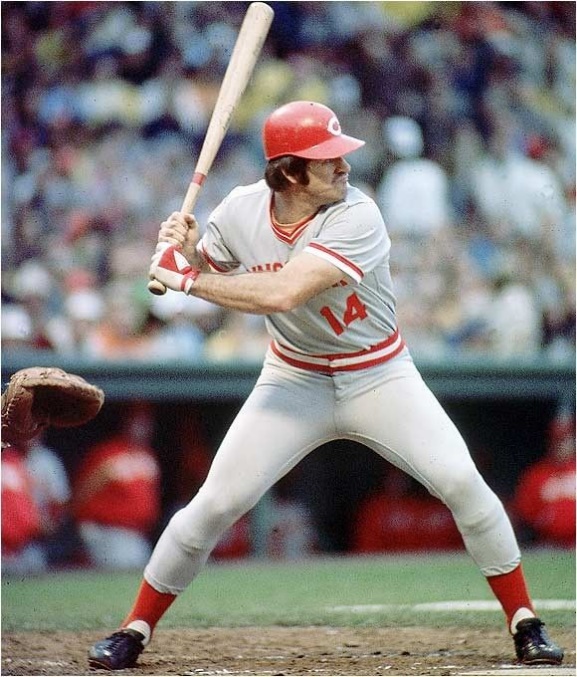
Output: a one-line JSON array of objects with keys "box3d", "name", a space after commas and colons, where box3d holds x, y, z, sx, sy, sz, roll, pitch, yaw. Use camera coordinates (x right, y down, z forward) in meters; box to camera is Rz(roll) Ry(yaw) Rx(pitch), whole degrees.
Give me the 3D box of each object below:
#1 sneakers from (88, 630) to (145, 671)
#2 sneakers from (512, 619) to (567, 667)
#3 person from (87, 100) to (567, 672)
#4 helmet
[{"box3d": [-0.468, 0.864, 2.564, 0.104, 0.118, 0.127, 7, 41, 14], "name": "sneakers"}, {"box3d": [0.662, 0.828, 2.496, 0.095, 0.107, 0.149, -12, 39, -9], "name": "sneakers"}, {"box3d": [0.068, 0.091, 2.611, 1.120, 1.236, 1.136, -4, 40, 2], "name": "person"}, {"box3d": [0.080, -0.581, 2.627, 0.294, 0.115, 0.232, 9, 27, 39], "name": "helmet"}]
